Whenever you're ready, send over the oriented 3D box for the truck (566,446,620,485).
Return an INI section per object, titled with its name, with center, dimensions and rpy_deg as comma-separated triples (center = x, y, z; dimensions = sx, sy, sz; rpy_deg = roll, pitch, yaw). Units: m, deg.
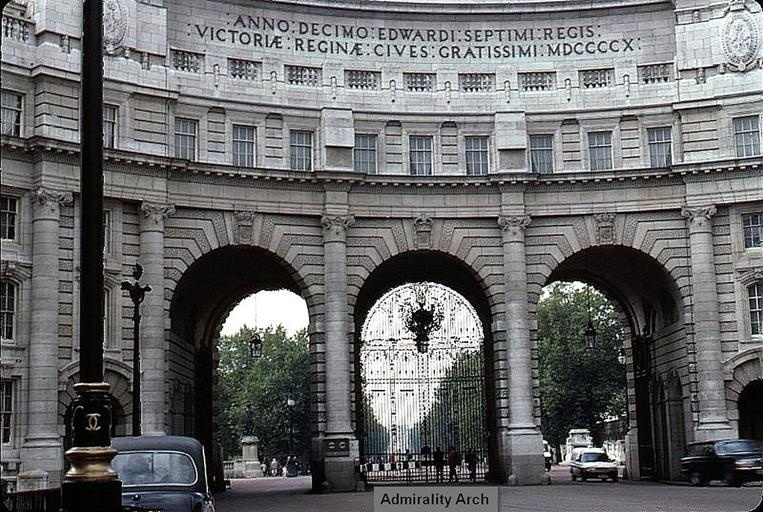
[truck]
center = 12.462, 12.382, 85.847
dimensions = 1.656, 1.342, 3.574
rpy_deg = 0, -16, -4
